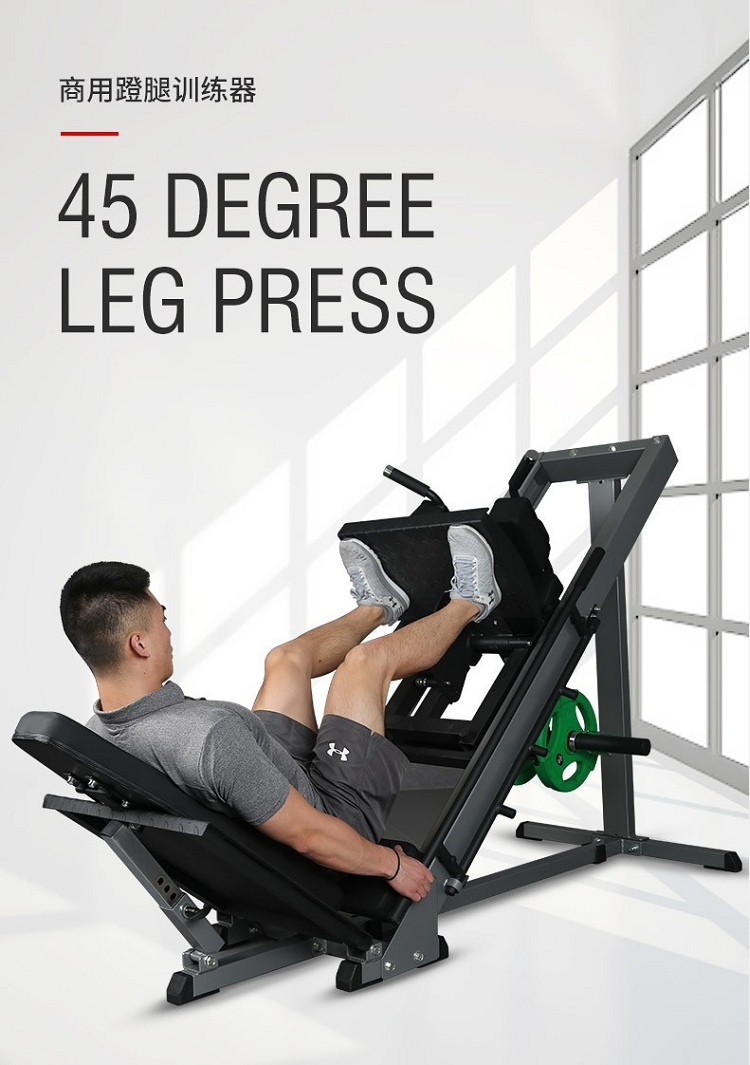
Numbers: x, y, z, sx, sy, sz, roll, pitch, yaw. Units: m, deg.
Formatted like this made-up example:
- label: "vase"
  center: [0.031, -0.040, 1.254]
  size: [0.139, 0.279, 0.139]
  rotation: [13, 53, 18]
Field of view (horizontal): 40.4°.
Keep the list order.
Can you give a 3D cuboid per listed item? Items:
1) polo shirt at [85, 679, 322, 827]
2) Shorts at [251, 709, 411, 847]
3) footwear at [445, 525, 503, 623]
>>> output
- label: "polo shirt"
  center: [-0.273, 0.404, 1.727]
  size: [0.258, 0.132, 0.321]
  rotation: [30, 4, 35]
- label: "Shorts"
  center: [-0.046, 0.500, 2.055]
  size: [0.332, 0.173, 0.212]
  rotation: [33, 7, -17]
- label: "footwear"
  center: [0.239, 0.105, 2.331]
  size: [0.089, 0.102, 0.242]
  rotation: [15, -40, 29]
